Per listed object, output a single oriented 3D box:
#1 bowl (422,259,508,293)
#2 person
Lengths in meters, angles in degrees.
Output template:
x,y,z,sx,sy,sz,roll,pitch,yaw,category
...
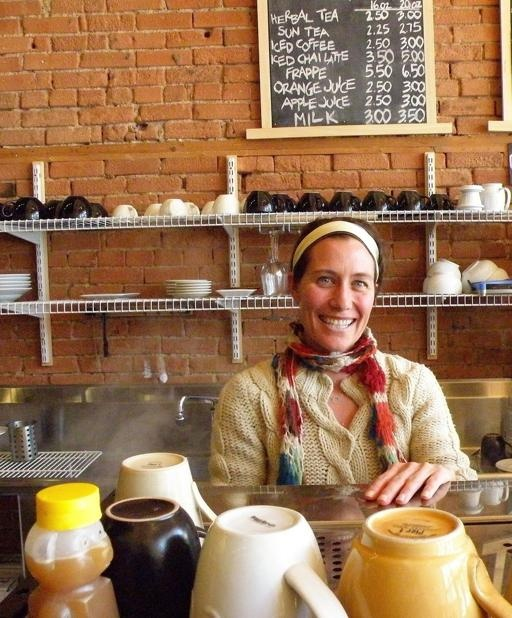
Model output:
x,y,z,sx,sy,sz,roll,pitch,yaw,category
0.642,-0.120,2.096,0.210,0.073,0.117,-9,8,-5,bowl
0.145,0.172,1.282,0.572,0.642,0.374,1,-2,4,person
